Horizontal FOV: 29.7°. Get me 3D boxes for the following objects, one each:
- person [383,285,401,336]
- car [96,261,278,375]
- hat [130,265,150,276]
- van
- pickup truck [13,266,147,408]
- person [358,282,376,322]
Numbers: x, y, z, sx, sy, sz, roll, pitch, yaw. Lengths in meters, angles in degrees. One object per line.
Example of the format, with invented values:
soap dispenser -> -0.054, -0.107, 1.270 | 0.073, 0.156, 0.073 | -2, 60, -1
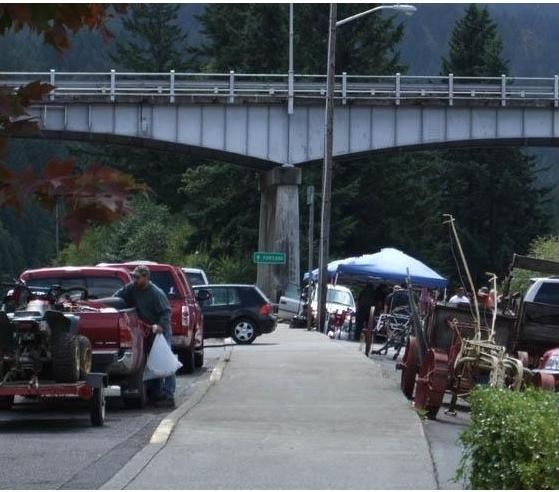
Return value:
person -> 2.584, 1.607, 24.788 | 0.331, 0.297, 1.615 | 0, 35, 14
car -> -1.721, 1.349, 19.566 | 1.681, 1.704, 4.012 | -1, 0, 11
hat -> -1.798, 0.334, 13.858 | 0.178, 0.197, 0.144 | -5, 7, -28
van -> 1.373, 1.983, 36.537 | 1.302, 1.263, 2.552 | 1, -10, -22
pickup truck -> -2.269, 1.062, 13.571 | 1.111, 1.171, 2.181 | 0, 2, 6
person -> 2.328, 1.539, 28.503 | 0.455, 0.766, 0.873 | 2, 1, 4
